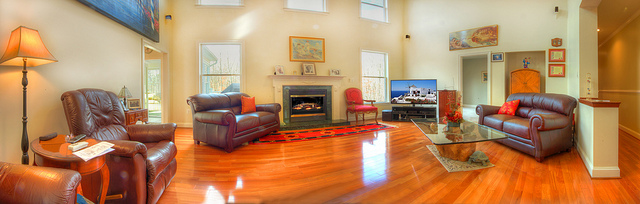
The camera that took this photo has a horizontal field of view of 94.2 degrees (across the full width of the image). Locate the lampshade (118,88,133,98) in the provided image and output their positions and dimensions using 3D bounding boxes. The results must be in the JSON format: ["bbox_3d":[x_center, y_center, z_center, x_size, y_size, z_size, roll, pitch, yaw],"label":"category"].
[{"bbox_3d":[-9.483,-0.448,14.504,0.593,0.469,0.358,-4,5,-35],"label":"lampshade"}]

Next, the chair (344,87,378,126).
[{"bbox_3d":[2.233,0.185,16.757,1.705,2.024,1.208,-2,4,3],"label":"chair"}]

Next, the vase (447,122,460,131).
[{"bbox_3d":[6.224,1.106,14.073,0.730,0.347,0.295,-3,4,-23],"label":"vase"}]

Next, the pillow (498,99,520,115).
[{"bbox_3d":[9.425,0.252,14.838,1.057,0.699,0.343,-2,4,-11],"label":"pillow"}]

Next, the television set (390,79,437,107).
[{"bbox_3d":[5.339,-0.503,16.851,2.609,1.024,0.523,1,6,9],"label":"television set"}]

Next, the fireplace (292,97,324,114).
[{"bbox_3d":[-0.781,0.175,16.688,2.470,0.886,1.006,0,-1,-14],"label":"fireplace"}]
